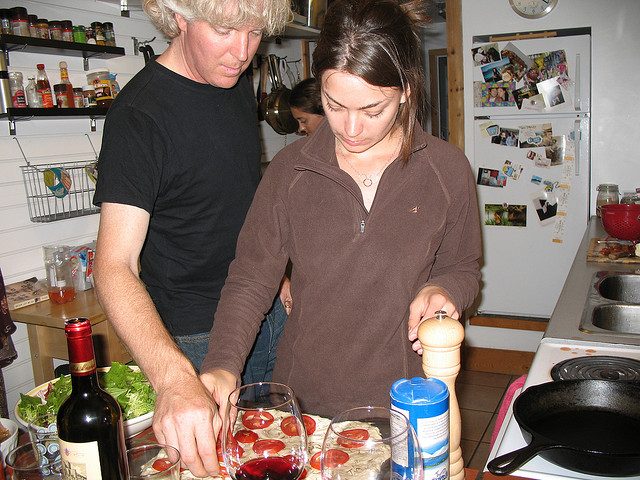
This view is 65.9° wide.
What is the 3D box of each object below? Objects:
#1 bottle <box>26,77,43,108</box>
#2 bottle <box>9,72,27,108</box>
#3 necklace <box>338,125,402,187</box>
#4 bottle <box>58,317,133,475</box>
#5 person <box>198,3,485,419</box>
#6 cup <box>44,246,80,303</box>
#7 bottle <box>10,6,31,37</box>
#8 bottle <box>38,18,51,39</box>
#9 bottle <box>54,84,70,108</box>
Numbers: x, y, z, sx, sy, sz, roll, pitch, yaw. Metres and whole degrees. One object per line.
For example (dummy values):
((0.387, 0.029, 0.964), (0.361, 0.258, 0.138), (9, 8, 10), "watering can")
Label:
((-1.441, -0.738, 2.491), (0.068, 0.151, 0.130), (-6, 13, -29), "bottle")
((-1.500, -0.740, 2.455), (0.058, 0.174, 0.160), (-6, 13, -31), "bottle")
((0.142, -0.243, 1.435), (0.183, 0.174, 0.082), (1, 11, 3), "necklace")
((-0.394, 0.296, 0.869), (0.117, 0.349, 0.103), (-7, 13, -33), "bottle")
((0.094, -0.031, 1.327), (0.850, 1.146, 0.471), (-3, 11, -17), "person")
((-1.380, 0.192, 2.581), (0.198, 0.278, 0.202), (-5, 3, 0), "cup")
((-1.451, -1.054, 2.396), (0.079, 0.138, 0.067), (-7, 13, -31), "bottle")
((-1.395, -1.062, 2.501), (0.047, 0.097, 0.089), (-4, 12, -22), "bottle")
((-1.369, -0.757, 2.611), (0.064, 0.123, 0.096), (-4, 12, -19), "bottle")
